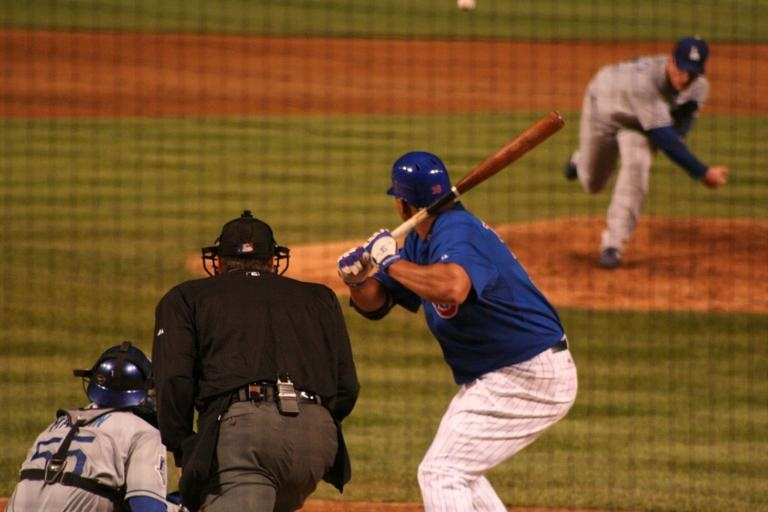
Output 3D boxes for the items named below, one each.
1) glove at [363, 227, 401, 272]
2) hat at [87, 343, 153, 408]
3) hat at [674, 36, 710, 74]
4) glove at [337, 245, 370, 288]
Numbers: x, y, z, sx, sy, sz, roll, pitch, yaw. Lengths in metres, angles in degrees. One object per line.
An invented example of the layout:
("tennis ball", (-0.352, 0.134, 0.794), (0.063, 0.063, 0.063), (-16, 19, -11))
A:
("glove", (-0.049, -0.059, 17.915), (0.426, 0.429, 0.167), (-49, 17, -28))
("hat", (-3.161, 1.439, 18.298), (0.705, 0.711, 0.809), (6, 29, -2))
("hat", (4.283, -2.820, 21.575), (0.395, 0.552, 0.359), (0, -27, -17))
("glove", (-0.357, 0.150, 18.088), (0.447, 0.188, 0.354), (-45, -7, -35))
